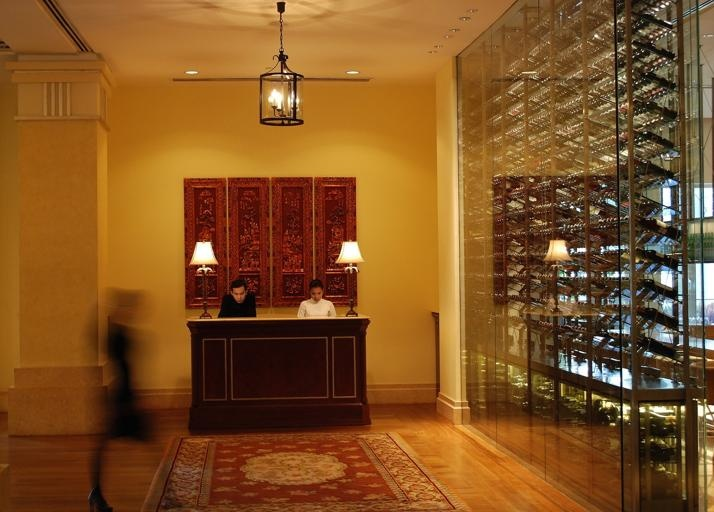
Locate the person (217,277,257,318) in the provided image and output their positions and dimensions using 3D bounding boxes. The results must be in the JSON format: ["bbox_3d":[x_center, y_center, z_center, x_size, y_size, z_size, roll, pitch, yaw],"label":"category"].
[{"bbox_3d":[-1.607,0.510,8.916,0.512,0.865,0.490,0,3,-7],"label":"person"}]

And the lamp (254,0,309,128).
[{"bbox_3d":[-0.823,-2.012,7.259,0.413,1.163,1.125,0,0,-5],"label":"lamp"}]

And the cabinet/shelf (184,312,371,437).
[{"bbox_3d":[-0.991,1.467,8.646,2.367,1.475,0.875,0,3,-2],"label":"cabinet/shelf"}]
